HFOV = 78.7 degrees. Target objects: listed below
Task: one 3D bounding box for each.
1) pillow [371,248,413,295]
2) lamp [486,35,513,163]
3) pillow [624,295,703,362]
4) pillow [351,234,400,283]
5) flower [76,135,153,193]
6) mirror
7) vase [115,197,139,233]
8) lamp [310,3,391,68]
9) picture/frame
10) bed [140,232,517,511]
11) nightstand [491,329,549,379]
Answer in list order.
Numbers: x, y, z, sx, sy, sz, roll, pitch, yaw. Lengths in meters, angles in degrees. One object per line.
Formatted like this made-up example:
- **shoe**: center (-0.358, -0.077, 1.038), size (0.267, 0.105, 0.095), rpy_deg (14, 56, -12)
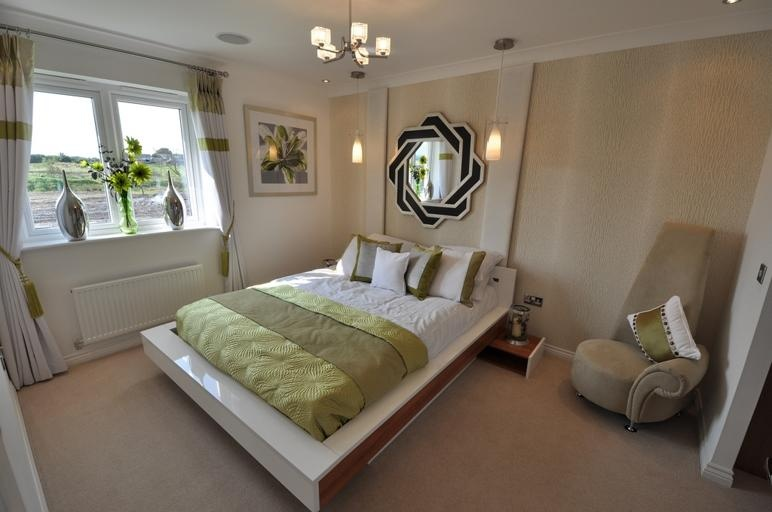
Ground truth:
- **pillow**: center (0.054, 0.184, 5.107), size (0.393, 0.412, 0.151), rpy_deg (8, -3, 33)
- **lamp**: center (1.165, -1.577, 4.824), size (0.226, 1.184, 0.552), rpy_deg (4, 13, 12)
- **pillow**: center (2.492, 0.679, 4.238), size (0.184, 0.578, 0.572), rpy_deg (12, 45, -32)
- **pillow**: center (-0.135, 0.097, 5.495), size (0.478, 0.512, 0.184), rpy_deg (10, -16, 37)
- **flower**: center (-2.761, -0.924, 4.966), size (0.571, 0.520, 0.592), rpy_deg (21, 36, 15)
- **mirror**: center (0.588, -1.040, 5.524), size (0.029, 1.289, 1.165), rpy_deg (-14, 22, -42)
- **vase**: center (-2.749, -0.446, 4.990), size (0.176, 0.400, 0.170), rpy_deg (-7, 15, -32)
- **lamp**: center (-0.319, -1.988, 4.158), size (0.549, 0.639, 0.490), rpy_deg (-6, 10, -30)
- **picture/frame**: center (-1.345, -1.346, 5.799), size (0.041, 1.080, 1.038), rpy_deg (20, 28, 39)
- **bed**: center (-0.221, 0.627, 3.904), size (1.773, 0.556, 1.883), rpy_deg (20, 32, 35)
- **nightstand**: center (1.446, 0.951, 4.946), size (0.486, 0.262, 0.370), rpy_deg (15, 27, 41)
